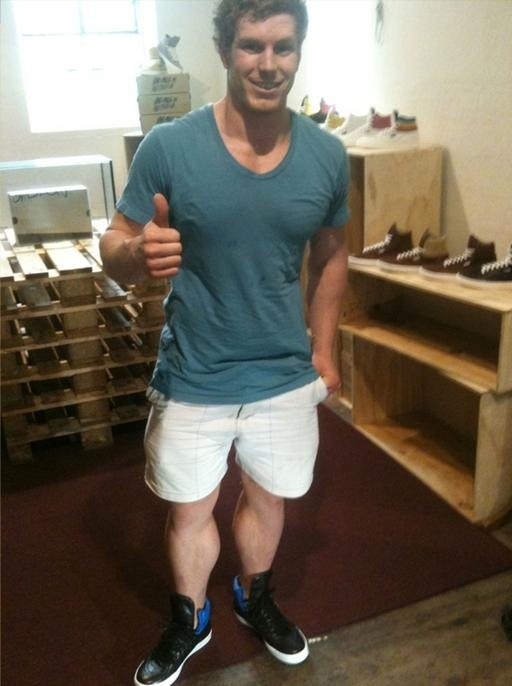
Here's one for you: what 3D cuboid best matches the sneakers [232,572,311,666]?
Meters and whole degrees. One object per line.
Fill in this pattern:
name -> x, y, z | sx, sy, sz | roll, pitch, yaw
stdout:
sneakers -> 0.037, 0.780, 1.416 | 0.107, 0.187, 0.296 | -24, 34, -35

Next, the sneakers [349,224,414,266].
sneakers -> 0.526, -0.426, 2.262 | 0.335, 0.202, 0.125 | 7, 17, 32

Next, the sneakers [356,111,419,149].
sneakers -> 0.631, -0.982, 2.372 | 0.172, 0.118, 0.268 | 2, 33, 10

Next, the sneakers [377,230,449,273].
sneakers -> 0.683, -0.389, 2.110 | 0.309, 0.159, 0.116 | 1, 15, 32
